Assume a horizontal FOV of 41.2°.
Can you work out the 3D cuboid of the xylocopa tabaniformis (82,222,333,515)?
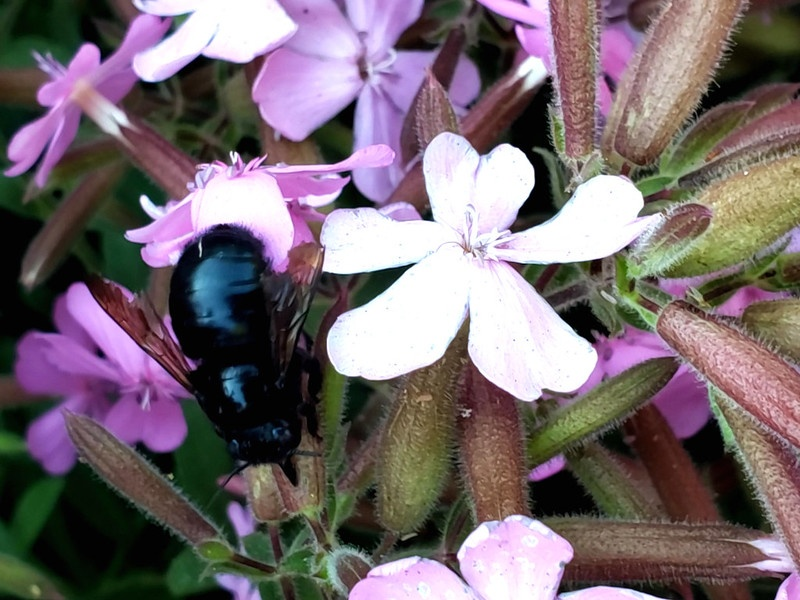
[{"bbox_3d":[-0.184,0.037,1.150,0.222,0.298,0.100,-9,30,22],"label":"xylocopa tabaniformis"}]
